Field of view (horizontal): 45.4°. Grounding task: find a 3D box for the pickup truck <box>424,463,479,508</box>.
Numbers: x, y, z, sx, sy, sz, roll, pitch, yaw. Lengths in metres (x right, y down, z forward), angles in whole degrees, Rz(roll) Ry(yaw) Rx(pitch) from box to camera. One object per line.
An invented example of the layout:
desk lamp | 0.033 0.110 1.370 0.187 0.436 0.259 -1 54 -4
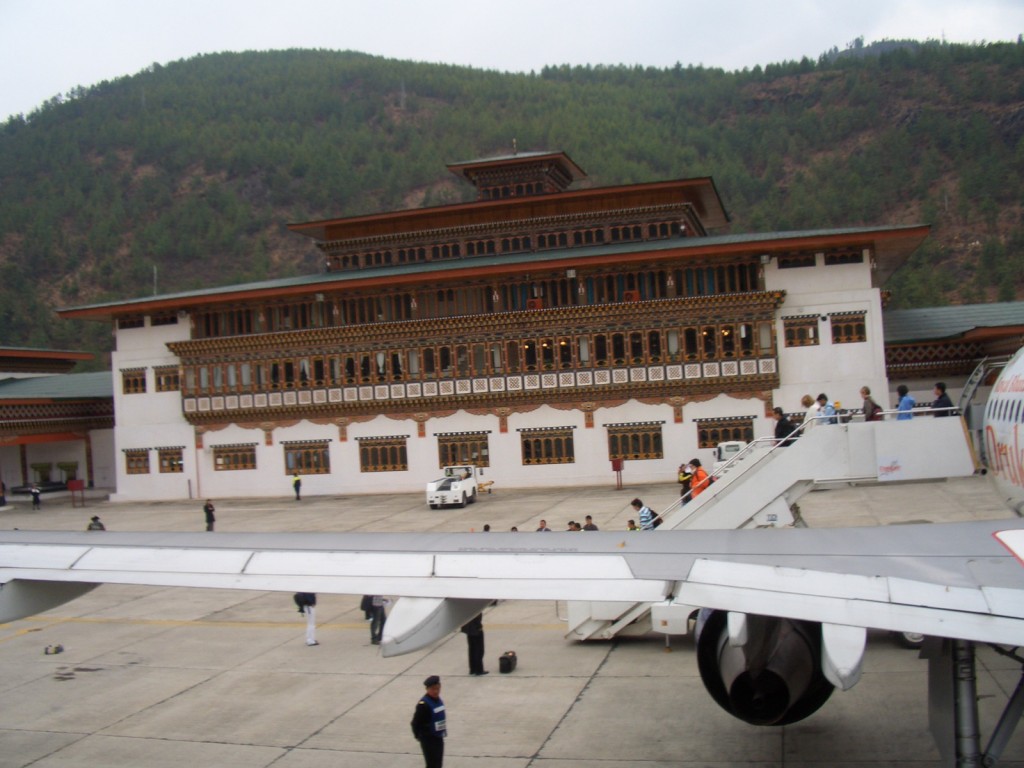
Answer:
pickup truck | -2.880 4.802 57.493 1.520 1.352 2.351 -1 4 16

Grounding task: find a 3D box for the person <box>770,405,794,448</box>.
person | 9.521 1.451 43.229 0.682 0.753 1.904 -6 0 14
